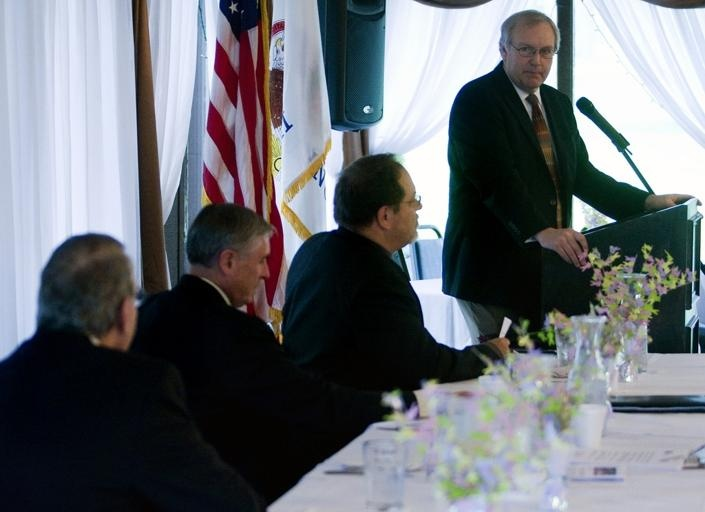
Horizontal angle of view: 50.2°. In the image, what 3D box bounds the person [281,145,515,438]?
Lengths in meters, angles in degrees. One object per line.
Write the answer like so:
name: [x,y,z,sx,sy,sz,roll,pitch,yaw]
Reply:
person: [0.019,-0.005,2.812,0.628,1.344,0.725,-5,10,-24]
